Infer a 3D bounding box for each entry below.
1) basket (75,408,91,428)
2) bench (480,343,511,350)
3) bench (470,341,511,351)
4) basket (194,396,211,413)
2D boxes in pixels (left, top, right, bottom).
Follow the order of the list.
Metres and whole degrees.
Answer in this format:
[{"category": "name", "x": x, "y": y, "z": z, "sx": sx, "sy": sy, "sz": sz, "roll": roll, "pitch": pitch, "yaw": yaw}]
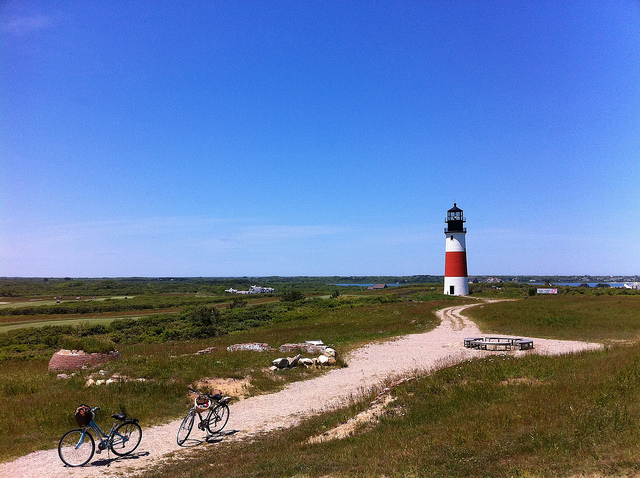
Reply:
[{"category": "basket", "x": -9.986, "y": 7.591, "z": 21.070, "sx": 0.566, "sy": 0.742, "sz": 0.385, "roll": 2, "pitch": 2, "yaw": 23}, {"category": "bench", "x": 13.569, "y": 8.259, "z": 38.574, "sx": 2.266, "sy": 0.448, "sz": 0.972, "roll": -5, "pitch": -5, "yaw": 18}, {"category": "bench", "x": 13.236, "y": 8.334, "z": 38.865, "sx": 3.189, "sy": 0.540, "sz": 1.266, "roll": -6, "pitch": -6, "yaw": 32}, {"category": "basket", "x": -5.793, "y": 8.142, "z": 24.457, "sx": 1.281, "sy": 0.795, "sz": 0.852, "roll": 6, "pitch": -19, "yaw": -11}]
